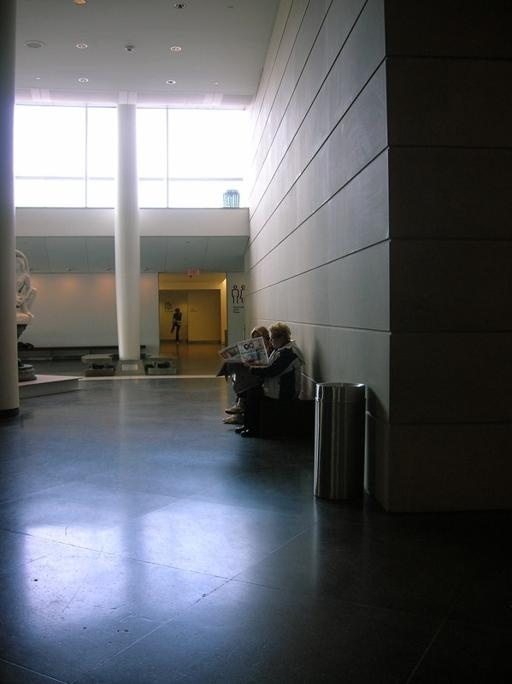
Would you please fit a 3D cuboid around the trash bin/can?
[{"bbox_3d":[0.584,0.682,3.510,0.377,0.784,0.323,0,0,8],"label":"trash bin/can"}]

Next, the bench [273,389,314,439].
[{"bbox_3d":[0.407,0.784,5.525,0.353,0.460,0.370,0,-2,29],"label":"bench"}]

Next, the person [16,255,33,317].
[{"bbox_3d":[-4.519,-1.119,9.899,0.319,1.369,0.821,0,0,-25],"label":"person"}]

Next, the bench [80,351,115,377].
[{"bbox_3d":[-4.563,0.673,14.693,0.939,0.518,3.827,0,-1,-17],"label":"bench"}]

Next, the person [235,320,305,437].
[{"bbox_3d":[0.196,0.502,5.857,0.587,1.420,0.625,-2,-23,11],"label":"person"}]

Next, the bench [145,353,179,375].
[{"bbox_3d":[-2.839,0.681,14.773,0.962,0.460,2.547,0,-1,-13],"label":"bench"}]
